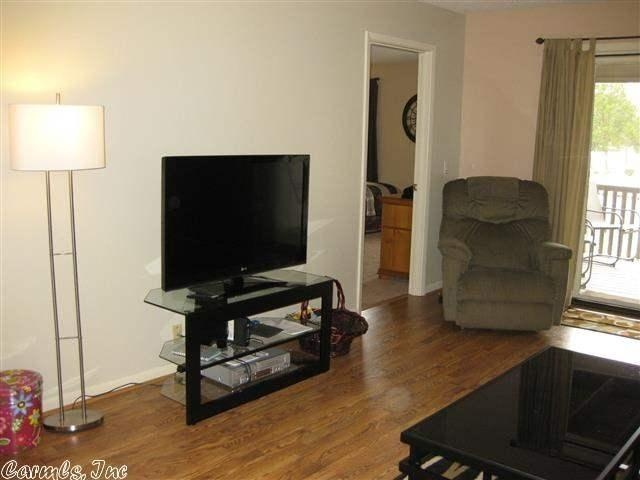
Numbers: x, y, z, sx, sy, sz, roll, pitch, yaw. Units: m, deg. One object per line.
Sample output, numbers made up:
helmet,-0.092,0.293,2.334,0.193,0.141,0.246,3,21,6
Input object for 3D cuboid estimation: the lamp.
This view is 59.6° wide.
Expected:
lamp,-1.393,0.125,3.136,0.502,1.850,0.422,-6,13,-20

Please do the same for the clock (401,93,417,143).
clock,1.406,-1.913,8.759,0.206,0.760,0.620,0,12,6

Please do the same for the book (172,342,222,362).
book,-0.736,0.681,3.359,0.160,0.036,0.157,-1,4,-45

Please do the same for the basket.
basket,0.077,0.613,4.342,0.676,0.594,0.464,2,0,-22

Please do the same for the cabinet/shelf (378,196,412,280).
cabinet/shelf,0.845,-0.026,5.919,0.156,0.838,0.455,-13,16,-41

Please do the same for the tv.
tv,-0.512,-0.164,3.613,0.104,0.801,1.155,14,16,42

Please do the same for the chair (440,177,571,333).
chair,1.572,0.101,4.864,1.062,1.238,0.921,1,12,11
